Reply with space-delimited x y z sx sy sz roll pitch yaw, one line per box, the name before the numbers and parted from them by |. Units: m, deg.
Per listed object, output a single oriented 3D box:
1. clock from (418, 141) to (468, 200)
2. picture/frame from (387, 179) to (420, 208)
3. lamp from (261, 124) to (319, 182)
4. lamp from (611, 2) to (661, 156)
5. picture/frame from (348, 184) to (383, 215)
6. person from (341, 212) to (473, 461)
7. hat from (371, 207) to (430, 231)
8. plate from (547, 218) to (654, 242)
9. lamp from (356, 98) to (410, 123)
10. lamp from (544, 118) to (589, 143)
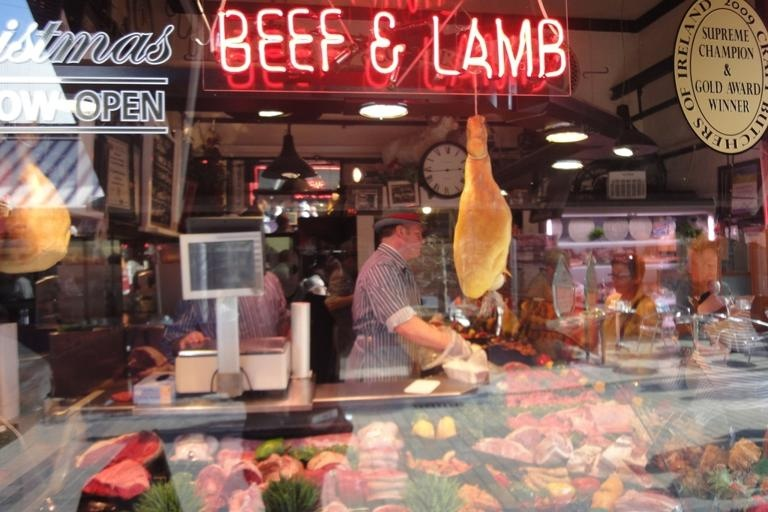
clock | 0.310 -0.431 3.054 0.291 0.292 0.039 0 2 -14
picture/frame | 0.101 -0.323 3.042 0.137 0.125 0.011 0 11 4
lamp | -0.446 -0.484 2.887 0.254 0.264 0.236 -4 5 -30
lamp | 1.488 -0.979 3.537 0.334 0.782 0.774 -1 -2 20
picture/frame | -0.094 -0.292 3.039 0.134 0.120 0.019 0 11 -7
person | 0.049 0.239 3.413 0.484 0.939 0.597 0 -2 -13
hat | 0.069 -0.194 3.233 0.281 0.094 0.305 0 -1 9
plate | 1.172 -0.144 3.293 0.723 0.136 0.228 0 -1 -27
lamp | -0.001 -0.710 2.972 0.238 0.071 0.125 0 -1 -3
lamp | 0.953 -0.647 3.191 0.230 0.096 0.122 0 -1 4
